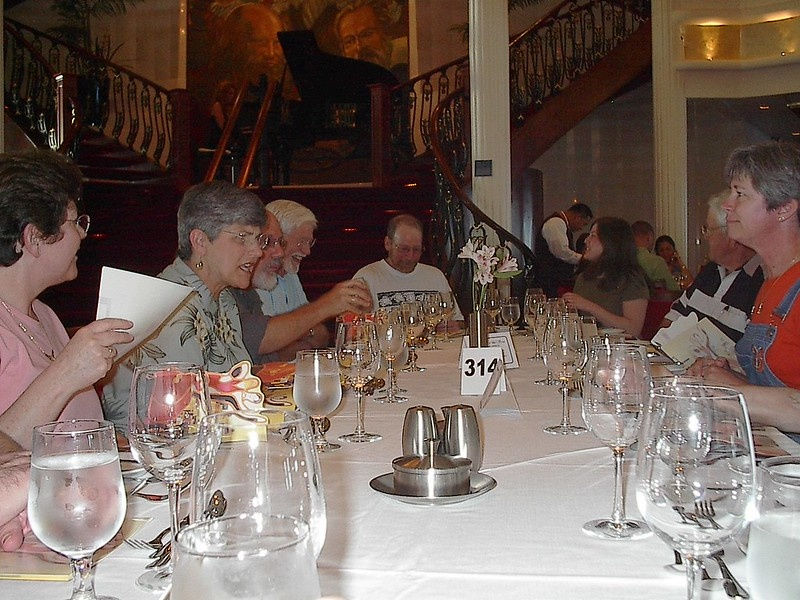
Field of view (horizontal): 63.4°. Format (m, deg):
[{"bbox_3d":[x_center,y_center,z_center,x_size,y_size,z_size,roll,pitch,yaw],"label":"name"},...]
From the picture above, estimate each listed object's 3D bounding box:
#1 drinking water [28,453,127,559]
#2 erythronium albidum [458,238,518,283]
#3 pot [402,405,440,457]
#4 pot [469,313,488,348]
[{"bbox_3d":[-0.400,0.247,0.819,0.096,0.154,0.099,10,10,40],"label":"drinking water"},{"bbox_3d":[0.346,-0.081,2.611,0.254,0.181,0.265,7,25,8],"label":"erythronium albidum"},{"bbox_3d":[0.045,0.283,1.390,0.078,0.124,0.076,0,8,0],"label":"pot"},{"bbox_3d":[0.270,0.105,2.271,0.073,0.120,0.074,-5,-3,0],"label":"pot"}]
